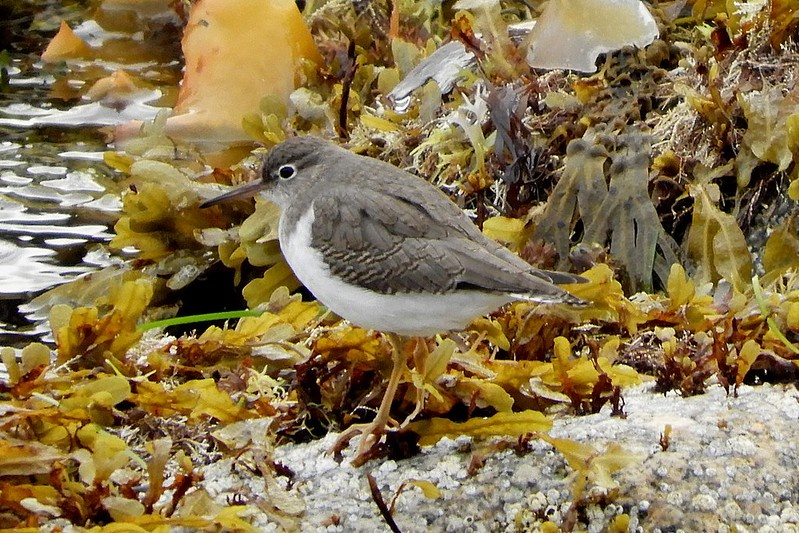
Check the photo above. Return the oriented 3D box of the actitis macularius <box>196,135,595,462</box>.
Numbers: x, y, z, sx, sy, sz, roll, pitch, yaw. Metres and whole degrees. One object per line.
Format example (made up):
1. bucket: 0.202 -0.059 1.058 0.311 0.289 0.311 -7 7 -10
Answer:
1. actitis macularius: -0.077 0.077 3.069 1.184 0.815 0.639 23 30 36
